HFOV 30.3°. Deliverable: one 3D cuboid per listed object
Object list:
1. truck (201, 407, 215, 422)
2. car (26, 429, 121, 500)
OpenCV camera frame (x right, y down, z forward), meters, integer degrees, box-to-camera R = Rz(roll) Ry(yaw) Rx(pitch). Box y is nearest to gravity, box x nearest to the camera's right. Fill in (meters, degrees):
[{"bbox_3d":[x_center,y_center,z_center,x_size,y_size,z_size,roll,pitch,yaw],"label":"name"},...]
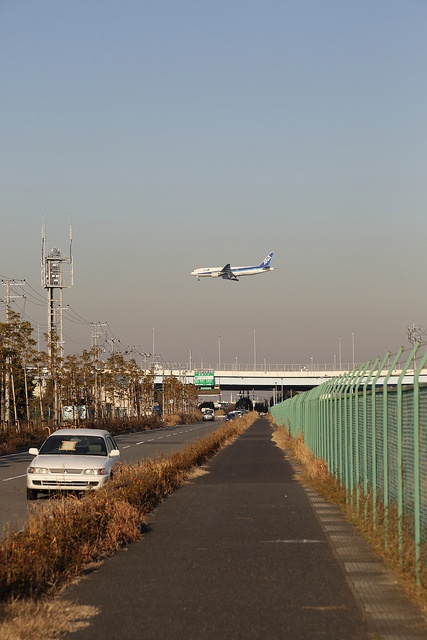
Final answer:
[{"bbox_3d":[-0.806,15.010,120.087,1.617,1.703,2.890,-1,-17,3],"label":"truck"},{"bbox_3d":[-2.599,2.668,14.964,0.890,0.866,1.837,-2,-13,3],"label":"car"}]
